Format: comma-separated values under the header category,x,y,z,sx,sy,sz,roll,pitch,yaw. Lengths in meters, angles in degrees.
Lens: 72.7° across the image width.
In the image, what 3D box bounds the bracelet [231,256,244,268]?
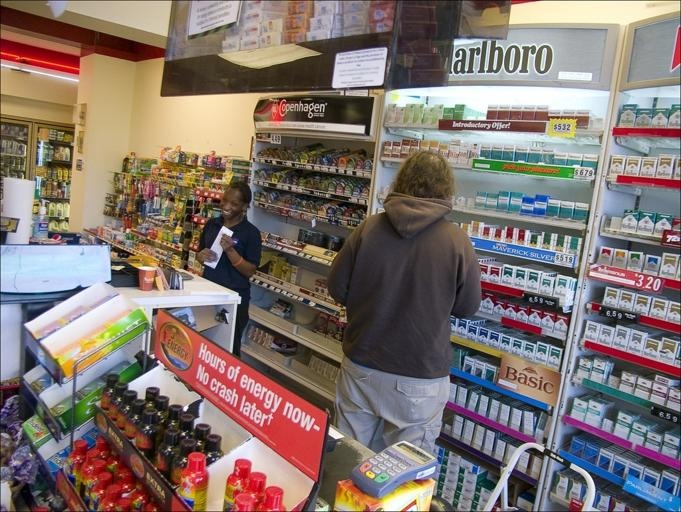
category,x,y,z,sx,sy,sz,roll,pitch,yaw
bracelet,-0.875,0.048,3.970,0.092,0.084,0.025,4,-17,16

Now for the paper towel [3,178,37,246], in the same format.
category,x,y,z,sx,sy,sz,roll,pitch,yaw
paper towel,-1.848,-0.248,2.683,0.153,0.403,0.504,-4,13,-33

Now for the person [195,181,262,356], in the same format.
category,x,y,z,sx,sy,sz,roll,pitch,yaw
person,-0.938,0.116,4.079,0.524,1.525,0.740,-6,14,-40

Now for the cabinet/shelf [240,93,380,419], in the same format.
category,x,y,z,sx,sy,sz,roll,pitch,yaw
cabinet/shelf,-0.227,-0.102,4.865,0.685,3.152,1.845,-9,19,-41

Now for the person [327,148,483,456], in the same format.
category,x,y,z,sx,sy,sz,roll,pitch,yaw
person,0.309,0.426,2.591,0.825,1.532,0.279,7,12,19

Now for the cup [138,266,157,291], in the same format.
category,x,y,z,sx,sy,sz,roll,pitch,yaw
cup,-1.092,0.126,2.628,0.131,0.122,0.124,6,7,-1
